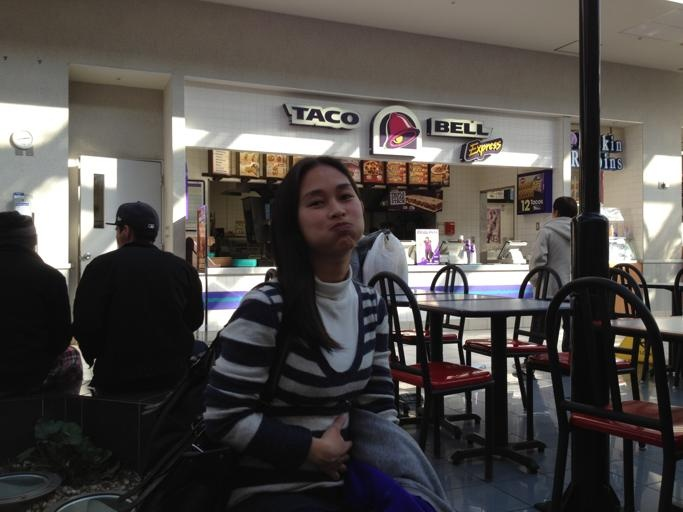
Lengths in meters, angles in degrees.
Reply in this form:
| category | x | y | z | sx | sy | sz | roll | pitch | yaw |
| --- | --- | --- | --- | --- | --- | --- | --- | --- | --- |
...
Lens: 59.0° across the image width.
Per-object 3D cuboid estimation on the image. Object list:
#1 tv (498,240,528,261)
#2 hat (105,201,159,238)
| category | x | y | z | sx | sy | sz | roll | pitch | yaw |
| --- | --- | --- | --- | --- | --- | --- | --- | --- | --- |
| tv | 2.736 | -0.076 | 9.561 | 0.341 | 0.243 | 0.218 | 1 | -13 | -19 |
| hat | -1.295 | -0.220 | 3.739 | 0.273 | 0.169 | 0.186 | 13 | 10 | 27 |
